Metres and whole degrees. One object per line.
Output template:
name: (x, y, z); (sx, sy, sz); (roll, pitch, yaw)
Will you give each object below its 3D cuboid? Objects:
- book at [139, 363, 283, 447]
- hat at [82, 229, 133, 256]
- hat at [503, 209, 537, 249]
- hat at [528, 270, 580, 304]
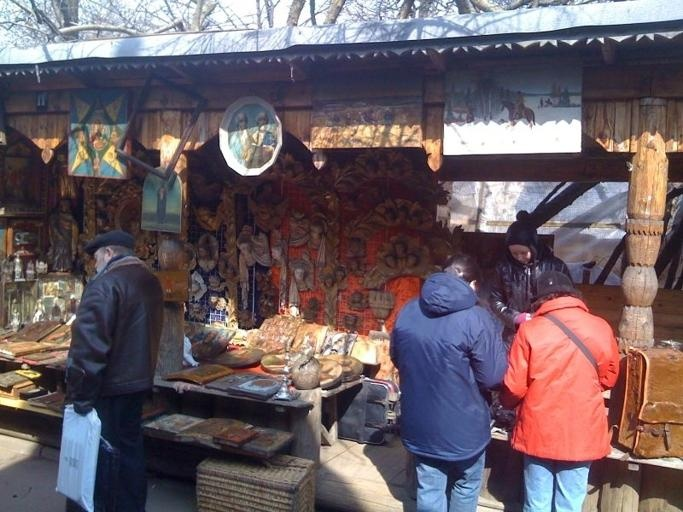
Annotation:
book: (-1.497, 1.859, 7.545); (0.953, 0.277, 0.973); (3, 6, 26)
hat: (-2.461, -0.122, 6.940); (0.325, 0.128, 0.296); (-6, -3, 20)
hat: (2.017, -0.303, 7.645); (0.321, 0.444, 0.462); (12, -10, 8)
hat: (2.176, 0.263, 6.632); (0.531, 0.293, 0.741); (-6, -4, 42)
